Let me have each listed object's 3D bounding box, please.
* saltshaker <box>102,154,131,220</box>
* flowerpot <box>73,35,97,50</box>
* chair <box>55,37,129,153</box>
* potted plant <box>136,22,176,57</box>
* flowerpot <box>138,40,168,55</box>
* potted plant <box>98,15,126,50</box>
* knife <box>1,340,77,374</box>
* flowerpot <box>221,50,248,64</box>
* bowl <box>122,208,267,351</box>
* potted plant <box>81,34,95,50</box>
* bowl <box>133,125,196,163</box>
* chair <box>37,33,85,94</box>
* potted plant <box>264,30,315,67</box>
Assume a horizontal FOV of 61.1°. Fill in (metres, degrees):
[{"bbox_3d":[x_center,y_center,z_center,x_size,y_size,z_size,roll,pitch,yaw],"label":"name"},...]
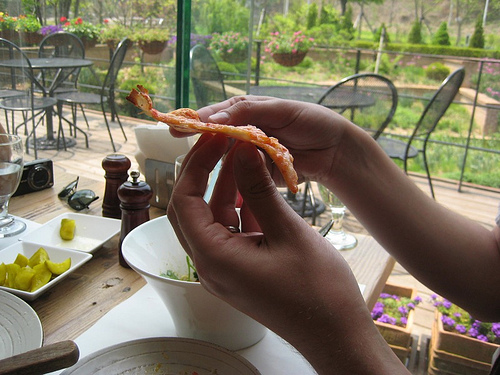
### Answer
[{"bbox_3d":[-0.454,0.016,1.418,0.087,0.232,0.089,16,16,27],"label":"saltshaker"},{"bbox_3d":[-1.072,-0.944,2.777,0.092,0.049,0.096,4,16,8],"label":"flowerpot"},{"bbox_3d":[-1.176,-0.702,3.228,0.383,0.801,0.398,4,18,2],"label":"chair"},{"bbox_3d":[-0.814,-1.225,3.729,0.292,0.177,0.289,11,7,11],"label":"potted plant"},{"bbox_3d":[-0.832,-1.199,3.630,0.138,0.079,0.146,9,32,11],"label":"flowerpot"},{"bbox_3d":[-1.013,-1.140,3.093,0.150,0.122,0.164,5,26,2],"label":"potted plant"},{"bbox_3d":[-0.397,0.323,0.801,0.078,0.022,0.078,-13,10,-41],"label":"knife"},{"bbox_3d":[-0.144,-1.378,4.487,0.167,0.119,0.173,4,32,11],"label":"flowerpot"},{"bbox_3d":[-0.134,0.215,0.988,0.298,0.213,0.324,1,27,0],"label":"bowl"},{"bbox_3d":[-1.066,-0.956,2.806,0.085,0.065,0.089,20,43,16],"label":"potted plant"},{"bbox_3d":[-0.328,-0.172,1.500,0.157,0.104,0.159,-6,16,2],"label":"bowl"},{"bbox_3d":[-1.051,-0.704,2.425,0.214,0.428,0.263,-4,5,-21],"label":"chair"},{"bbox_3d":[0.557,-2.054,6.194,0.734,0.482,0.536,11,25,16],"label":"potted plant"}]
